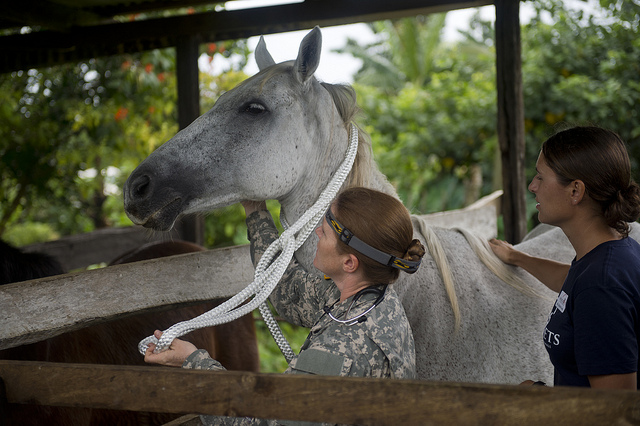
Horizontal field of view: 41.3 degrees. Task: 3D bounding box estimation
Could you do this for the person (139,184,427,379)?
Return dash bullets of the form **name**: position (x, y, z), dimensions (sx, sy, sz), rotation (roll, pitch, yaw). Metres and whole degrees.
- **person**: position (-0.086, 0.586, 4.290), dimensions (1.325, 0.629, 0.870), rotation (-20, 48, -21)
